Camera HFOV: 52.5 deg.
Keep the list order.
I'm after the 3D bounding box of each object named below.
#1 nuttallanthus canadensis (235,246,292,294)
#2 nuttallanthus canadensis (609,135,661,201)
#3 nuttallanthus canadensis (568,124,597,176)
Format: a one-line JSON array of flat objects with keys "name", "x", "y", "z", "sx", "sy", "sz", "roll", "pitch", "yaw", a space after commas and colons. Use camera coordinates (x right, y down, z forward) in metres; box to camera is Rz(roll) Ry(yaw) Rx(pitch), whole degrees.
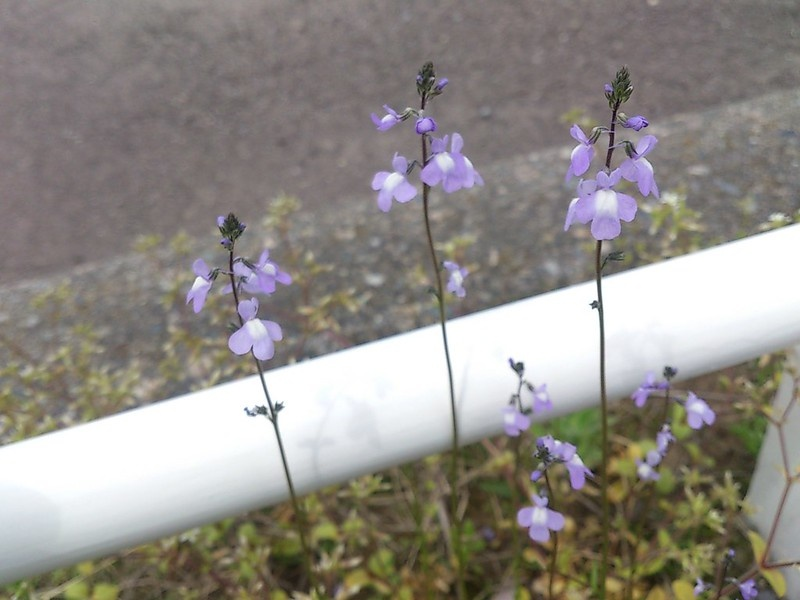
[{"name": "nuttallanthus canadensis", "x": -0.361, "y": -0.084, "z": 1.976, "sx": 0.107, "sy": 0.125, "sz": 0.050, "roll": -29, "pitch": 72, "yaw": 12}, {"name": "nuttallanthus canadensis", "x": 0.559, "y": -0.326, "z": 1.900, "sx": 0.098, "sy": 0.147, "sz": 0.061, "roll": 11, "pitch": 24, "yaw": 20}, {"name": "nuttallanthus canadensis", "x": 0.426, "y": -0.351, "z": 1.914, "sx": 0.067, "sy": 0.069, "sz": 0.132, "roll": -7, "pitch": 85, "yaw": 30}]
